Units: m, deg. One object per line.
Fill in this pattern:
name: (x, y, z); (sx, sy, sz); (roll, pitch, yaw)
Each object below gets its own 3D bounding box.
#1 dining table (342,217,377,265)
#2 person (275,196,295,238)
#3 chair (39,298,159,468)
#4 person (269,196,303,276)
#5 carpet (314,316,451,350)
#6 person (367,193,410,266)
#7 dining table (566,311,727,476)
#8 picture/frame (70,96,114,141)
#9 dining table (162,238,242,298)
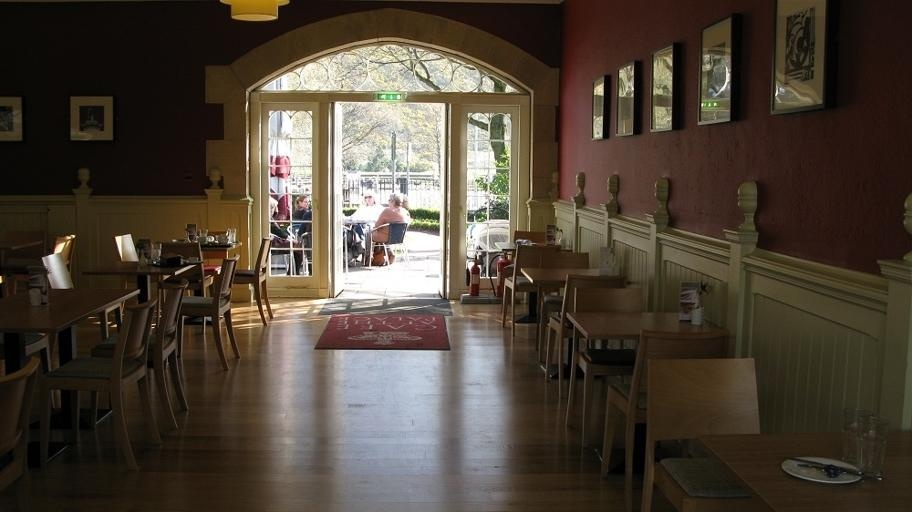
dining table: (-1.997, -0.318, 13.762); (0.905, 0.951, 0.894); (-7, 10, -42)
person: (-2.827, -0.662, 10.545); (0.261, 0.701, 0.101); (-2, 12, -15)
chair: (-3.022, 1.053, 5.534); (0.856, 1.324, 0.724); (0, 12, -5)
person: (-2.849, -0.252, 10.667); (0.484, 0.866, 0.289); (2, -2, -12)
carpet: (-0.944, 1.011, 8.861); (1.708, 0.079, 1.754); (0, 12, -2)
person: (-1.393, -0.492, 13.298); (0.827, 1.542, 1.086); (-1, 12, -7)
dining table: (1.395, 1.004, 5.537); (1.289, 1.118, 1.251); (-1, 13, -13)
picture/frame: (-5.602, -2.151, 9.885); (0.715, 0.707, 0.053); (0, 3, -2)
dining table: (-3.253, 0.149, 8.191); (0.850, 0.838, 0.669); (1, 8, 6)
